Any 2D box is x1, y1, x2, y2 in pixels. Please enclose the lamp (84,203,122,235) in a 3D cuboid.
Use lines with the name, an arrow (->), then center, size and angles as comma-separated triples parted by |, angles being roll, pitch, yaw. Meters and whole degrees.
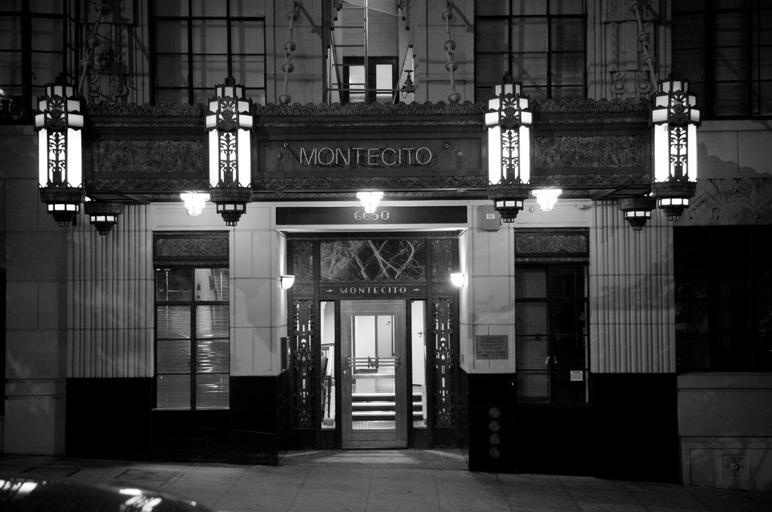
lamp -> -5.760, -0.811, 27.263 | 0.697, 0.582, 0.672 | 0, 5, -9

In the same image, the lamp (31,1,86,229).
lamp -> -6.067, -2.081, 24.924 | 0.900, 2.737, 0.465 | 0, -3, -15

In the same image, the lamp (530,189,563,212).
lamp -> 3.318, -1.145, 26.841 | 0.477, 0.325, 0.476 | 1, 2, 17

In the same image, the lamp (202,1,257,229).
lamp -> -2.877, -2.043, 24.958 | 0.933, 2.687, 0.406 | 0, -3, -7

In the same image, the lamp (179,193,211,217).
lamp -> -3.893, -1.076, 27.286 | 0.517, 0.375, 0.513 | 0, 2, 6

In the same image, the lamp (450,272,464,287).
lamp -> 1.612, 0.518, 29.108 | 0.288, 0.229, 0.312 | 0, 3, -20
